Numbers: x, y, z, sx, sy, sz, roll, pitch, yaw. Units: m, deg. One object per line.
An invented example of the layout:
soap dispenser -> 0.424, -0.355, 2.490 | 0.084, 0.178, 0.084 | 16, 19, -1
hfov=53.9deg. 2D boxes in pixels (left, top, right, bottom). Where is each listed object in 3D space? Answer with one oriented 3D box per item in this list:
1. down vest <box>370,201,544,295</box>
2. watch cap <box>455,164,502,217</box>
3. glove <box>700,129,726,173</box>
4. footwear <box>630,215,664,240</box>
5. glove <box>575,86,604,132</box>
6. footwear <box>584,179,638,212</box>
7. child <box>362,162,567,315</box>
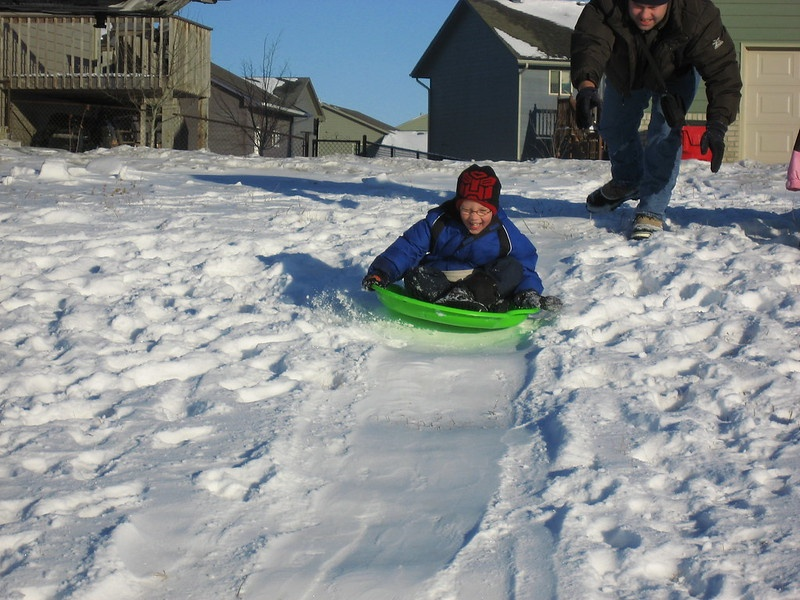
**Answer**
down vest -> 0.453, -0.406, 5.882 | 1.176, 0.594, 0.724 | 7, 17, 7
watch cap -> 0.651, -0.815, 5.800 | 0.316, 0.341, 0.370 | 15, -2, 11
glove -> 2.335, -1.142, 5.950 | 0.243, 0.385, 0.109 | 5, -5, -6
footwear -> 2.137, -0.626, 6.830 | 0.161, 0.160, 0.376 | 2, 4, 22
glove -> 1.412, -1.456, 6.041 | 0.280, 0.344, 0.119 | 1, 2, -33
footwear -> 2.057, -0.994, 7.782 | 0.559, 0.197, 0.277 | -7, -16, 37
child -> 0.522, -0.456, 5.847 | 1.418, 0.969, 0.971 | 10, 19, 15
